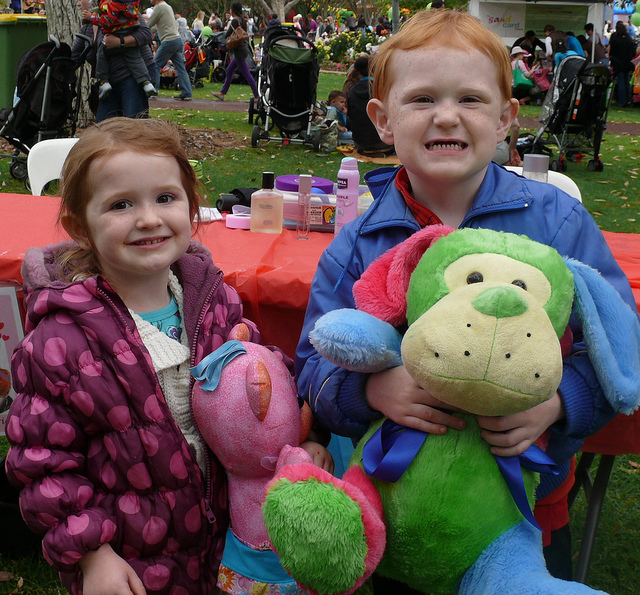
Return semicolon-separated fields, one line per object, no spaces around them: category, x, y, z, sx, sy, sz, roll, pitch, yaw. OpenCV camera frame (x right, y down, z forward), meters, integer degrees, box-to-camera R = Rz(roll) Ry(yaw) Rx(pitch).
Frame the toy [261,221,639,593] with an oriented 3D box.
toy;0.295;0.229;1.514;0.951;0.847;0.712;7;24;16

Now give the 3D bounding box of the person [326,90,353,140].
person;0.359;-3.089;10.271;0.500;0.798;0.563;-20;26;-35

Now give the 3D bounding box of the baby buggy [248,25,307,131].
baby buggy;-0.593;-3.599;9.534;0.983;2.379;0.965;-8;27;-19

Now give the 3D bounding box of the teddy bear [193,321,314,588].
teddy bear;-0.181;0.390;1.481;0.270;0.513;0.248;5;20;6

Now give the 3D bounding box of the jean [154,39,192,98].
jean;-3.084;-4.798;12.770;0.682;1.209;2.922;-1;21;-12

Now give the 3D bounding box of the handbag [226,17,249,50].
handbag;-1.580;-5.003;11.464;0.356;0.553;0.485;2;20;-3

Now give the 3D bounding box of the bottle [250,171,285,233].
bottle;-0.236;-0.429;2.622;0.145;0.284;0.092;0;40;-7
